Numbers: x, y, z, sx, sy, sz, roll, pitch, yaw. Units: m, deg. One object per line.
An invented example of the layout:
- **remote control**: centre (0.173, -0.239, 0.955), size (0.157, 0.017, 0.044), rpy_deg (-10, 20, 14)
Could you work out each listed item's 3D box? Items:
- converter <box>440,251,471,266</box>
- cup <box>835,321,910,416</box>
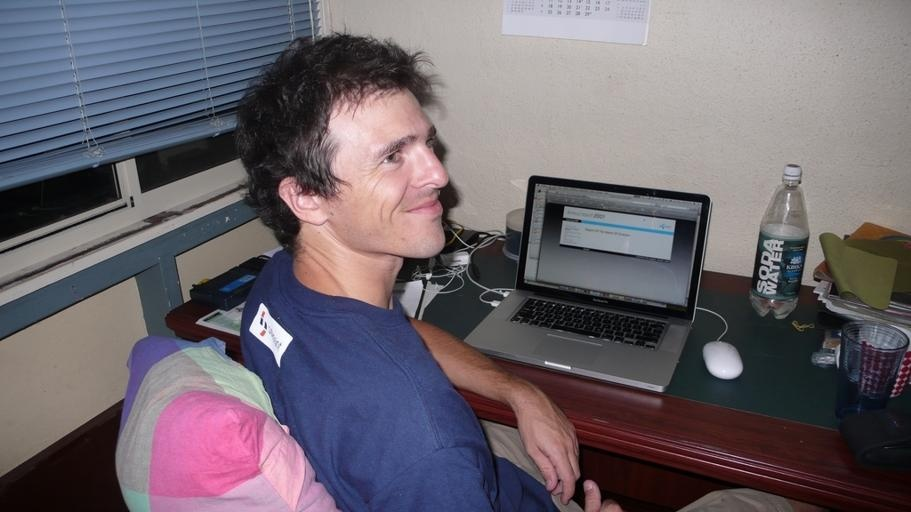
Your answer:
- **converter**: centre (0.000, 0.008, 2.204), size (0.082, 0.023, 0.059), rpy_deg (-7, 22, -29)
- **cup**: centre (1.172, 0.325, 1.628), size (0.172, 0.237, 0.171), rpy_deg (3, 20, -1)
